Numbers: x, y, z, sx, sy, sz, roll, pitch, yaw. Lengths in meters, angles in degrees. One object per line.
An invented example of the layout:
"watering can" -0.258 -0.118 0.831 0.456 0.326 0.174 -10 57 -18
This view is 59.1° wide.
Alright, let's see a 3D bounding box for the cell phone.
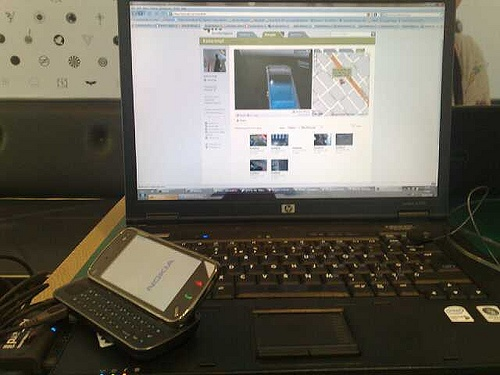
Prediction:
"cell phone" -0.175 0.162 0.680 0.227 0.084 0.171 24 42 28
